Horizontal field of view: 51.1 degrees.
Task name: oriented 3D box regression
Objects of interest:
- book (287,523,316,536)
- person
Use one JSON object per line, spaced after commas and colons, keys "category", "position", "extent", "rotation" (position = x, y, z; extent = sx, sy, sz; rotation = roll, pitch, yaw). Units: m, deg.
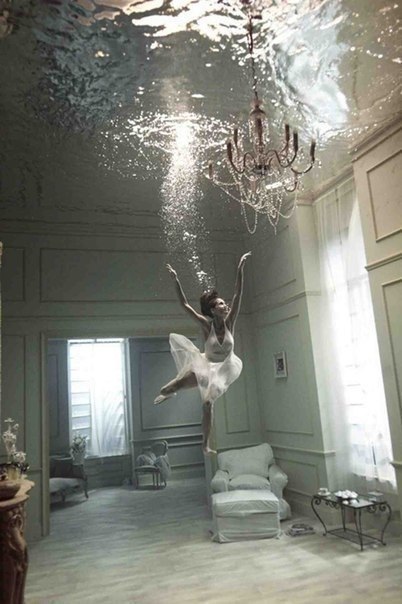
{"category": "book", "position": [0.945, 2.153, 3.975], "extent": [0.141, 0.053, 0.113], "rotation": [1, -5, -15]}
{"category": "person", "position": [0.042, 0.334, 3.072], "extent": [0.754, 1.463, 0.610], "rotation": [-7, -11, 8]}
